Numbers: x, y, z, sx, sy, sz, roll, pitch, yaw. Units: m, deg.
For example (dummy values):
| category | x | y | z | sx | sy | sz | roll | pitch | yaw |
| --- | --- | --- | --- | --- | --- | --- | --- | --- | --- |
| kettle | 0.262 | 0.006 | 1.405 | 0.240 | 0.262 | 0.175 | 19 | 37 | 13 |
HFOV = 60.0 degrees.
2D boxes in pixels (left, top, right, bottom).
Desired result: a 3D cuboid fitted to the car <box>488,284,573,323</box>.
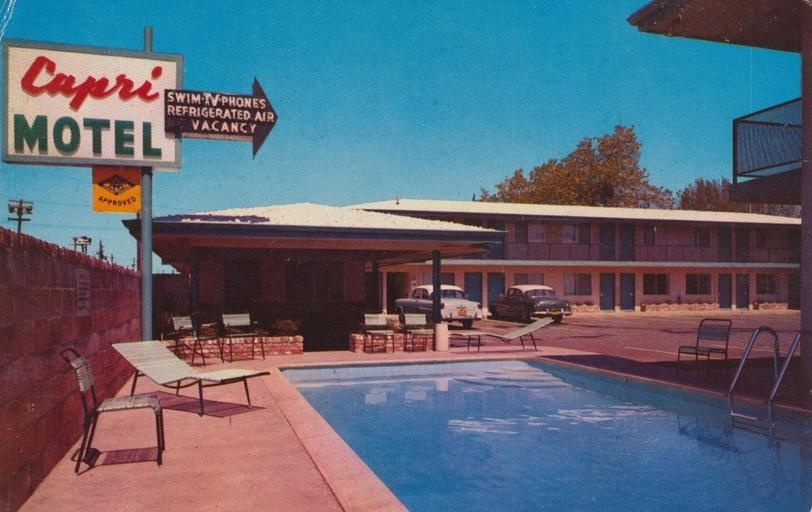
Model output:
| category | x | y | z | sx | sy | sz | roll | pitch | yaw |
| --- | --- | --- | --- | --- | --- | --- | --- | --- | --- |
| car | 5.689 | 2.159 | 32.845 | 1.514 | 1.326 | 3.902 | -1 | -2 | -22 |

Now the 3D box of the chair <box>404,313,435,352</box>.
| category | x | y | z | sx | sy | sz | roll | pitch | yaw |
| --- | --- | --- | --- | --- | --- | --- | --- | --- | --- |
| chair | 0.494 | 2.214 | 20.654 | 0.963 | 1.265 | 1.000 | 1 | -5 | -21 |

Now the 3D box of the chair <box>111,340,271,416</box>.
| category | x | y | z | sx | sy | sz | roll | pitch | yaw |
| --- | --- | --- | --- | --- | --- | --- | --- | --- | --- |
| chair | -4.513 | 2.122 | 13.226 | 3.378 | 1.145 | 1.322 | 0 | -1 | 30 |

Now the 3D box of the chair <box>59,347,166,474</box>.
| category | x | y | z | sx | sy | sz | roll | pitch | yaw |
| --- | --- | --- | --- | --- | --- | --- | --- | --- | --- |
| chair | -4.744 | 2.371 | 11.266 | 1.428 | 1.928 | 0.926 | -1 | -1 | -26 |

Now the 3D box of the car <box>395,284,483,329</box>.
| category | x | y | z | sx | sy | sz | roll | pitch | yaw |
| --- | --- | --- | --- | --- | --- | --- | --- | --- | --- |
| car | 1.375 | 1.939 | 28.657 | 1.668 | 1.215 | 3.602 | 1 | -3 | -26 |

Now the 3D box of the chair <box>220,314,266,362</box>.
| category | x | y | z | sx | sy | sz | roll | pitch | yaw |
| --- | --- | --- | --- | --- | --- | --- | --- | --- | --- |
| chair | -4.529 | 2.164 | 19.196 | 1.322 | 1.712 | 1.229 | 2 | -9 | -29 |
